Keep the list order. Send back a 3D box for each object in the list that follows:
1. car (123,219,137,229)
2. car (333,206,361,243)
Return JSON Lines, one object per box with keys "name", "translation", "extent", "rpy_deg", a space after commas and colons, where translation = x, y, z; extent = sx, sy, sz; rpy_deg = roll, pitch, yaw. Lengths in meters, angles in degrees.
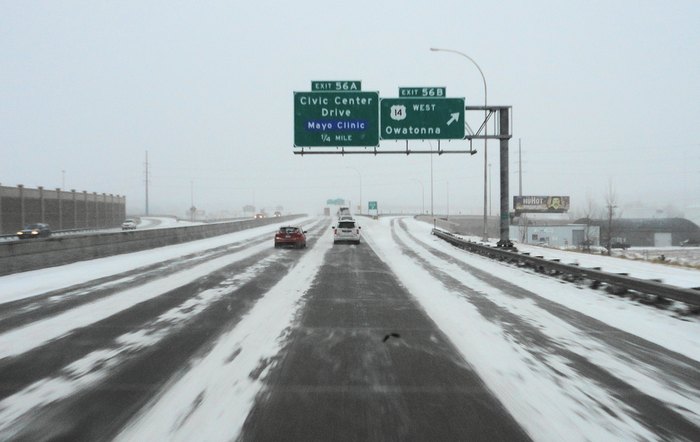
{"name": "car", "translation": [-23.135, 0.357, 57.733], "extent": [0.778, 0.709, 1.728], "rpy_deg": [-1, -6, -8]}
{"name": "car", "translation": [-0.244, 0.556, 35.582], "extent": [1.428, 1.547, 4.114], "rpy_deg": [0, 7, 0]}
